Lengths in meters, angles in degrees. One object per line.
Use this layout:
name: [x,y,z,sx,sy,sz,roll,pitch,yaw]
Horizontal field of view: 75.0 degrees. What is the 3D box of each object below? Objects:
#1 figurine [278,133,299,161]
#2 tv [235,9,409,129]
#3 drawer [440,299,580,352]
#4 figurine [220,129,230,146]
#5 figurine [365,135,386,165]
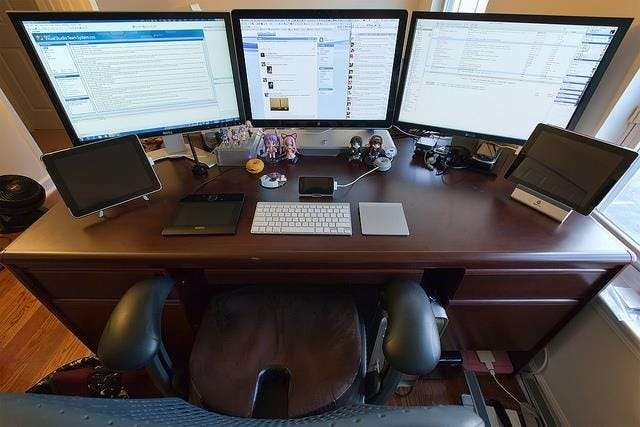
figurine: [-0.153,-0.320,2.021,0.124,0.120,0.065,-1,24,-3]
tv: [0.001,-0.669,1.856,0.658,0.450,0.051,-1,36,-3]
drawer: [0.823,0.511,1.950,0.495,0.456,0.265,-1,50,3]
figurine: [-0.457,-0.368,1.989,0.039,0.024,0.065,-1,80,-3]
figurine: [0.263,-0.301,1.993,0.143,0.165,0.075,-1,22,-2]
